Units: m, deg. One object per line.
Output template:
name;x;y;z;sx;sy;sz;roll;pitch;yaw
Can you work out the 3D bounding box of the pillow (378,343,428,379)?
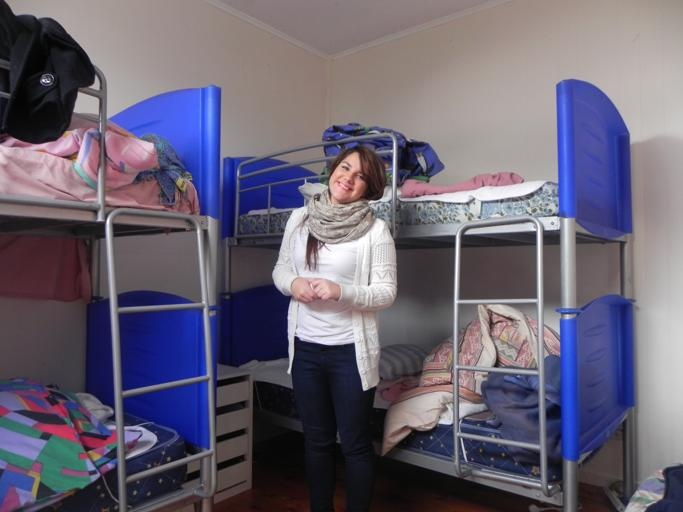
pillow;0.372;0.667;3.608;0.190;0.070;0.255;1;2;41
